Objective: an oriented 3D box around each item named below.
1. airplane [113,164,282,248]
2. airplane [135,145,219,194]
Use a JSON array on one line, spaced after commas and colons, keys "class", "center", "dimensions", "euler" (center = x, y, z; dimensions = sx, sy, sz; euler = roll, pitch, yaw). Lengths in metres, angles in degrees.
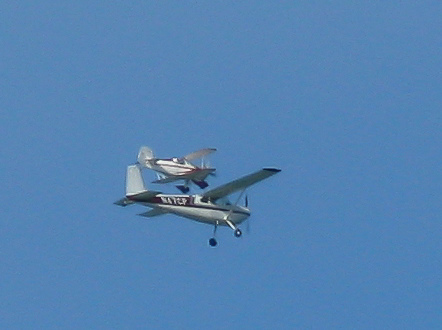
[{"class": "airplane", "center": [-1.563, 1.973, 41.853], "dimensions": [4.357, 6.452, 1.787], "euler": [11, 71, -29]}, {"class": "airplane", "center": [-2.424, 0.976, 46.601], "dimensions": [2.883, 3.928, 1.585], "euler": [11, 72, -24]}]
